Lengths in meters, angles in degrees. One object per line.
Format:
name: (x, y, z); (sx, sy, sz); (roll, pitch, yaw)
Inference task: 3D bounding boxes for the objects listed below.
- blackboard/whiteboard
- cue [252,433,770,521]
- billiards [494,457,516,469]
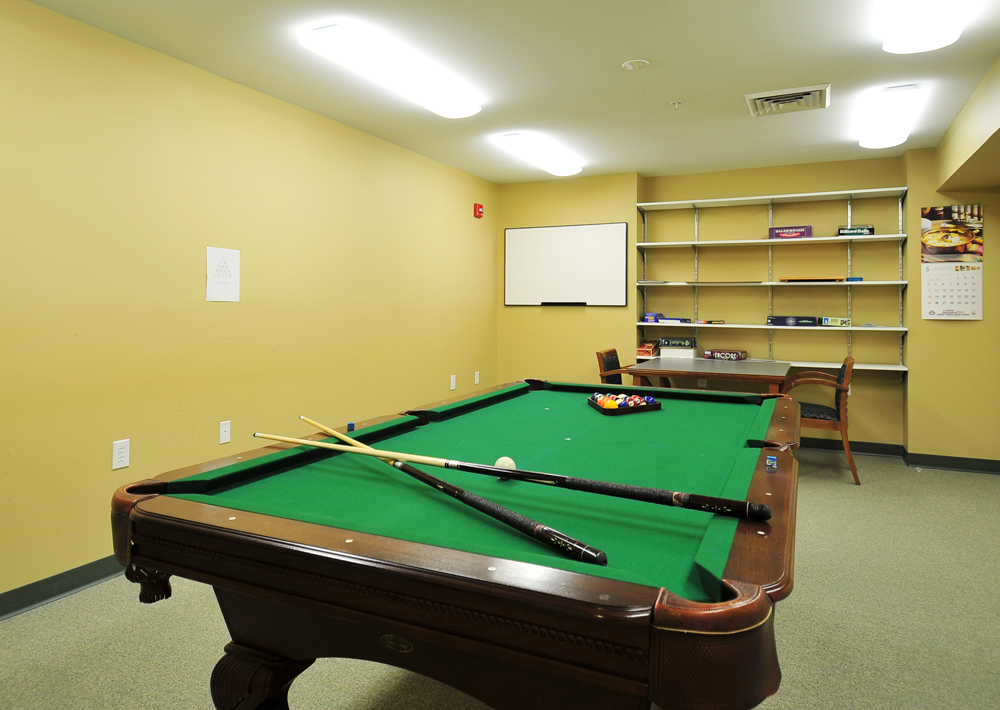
blackboard/whiteboard: (0.706, -0.942, 7.118); (1.229, 0.819, 0.266); (2, 8, 14)
cue: (0.094, 0.477, 2.691); (1.736, 0.061, 0.060); (5, 6, 25)
billiards: (0.030, 0.418, 2.763); (0.056, 0.029, 0.056); (10, 13, 38)
